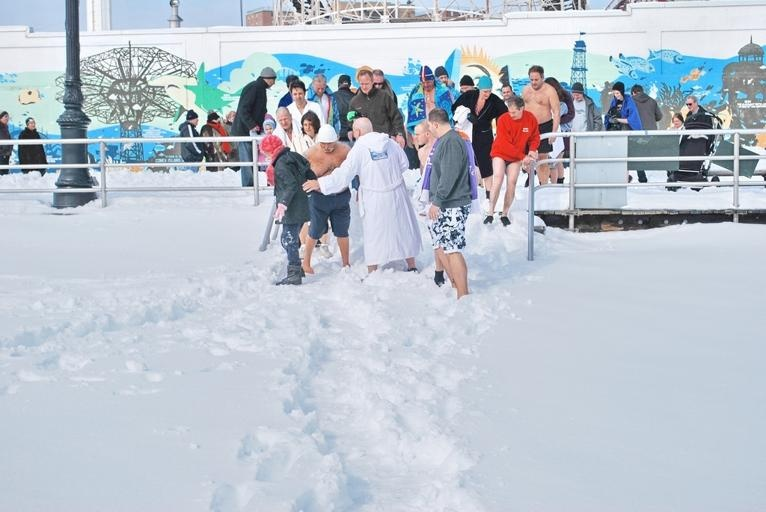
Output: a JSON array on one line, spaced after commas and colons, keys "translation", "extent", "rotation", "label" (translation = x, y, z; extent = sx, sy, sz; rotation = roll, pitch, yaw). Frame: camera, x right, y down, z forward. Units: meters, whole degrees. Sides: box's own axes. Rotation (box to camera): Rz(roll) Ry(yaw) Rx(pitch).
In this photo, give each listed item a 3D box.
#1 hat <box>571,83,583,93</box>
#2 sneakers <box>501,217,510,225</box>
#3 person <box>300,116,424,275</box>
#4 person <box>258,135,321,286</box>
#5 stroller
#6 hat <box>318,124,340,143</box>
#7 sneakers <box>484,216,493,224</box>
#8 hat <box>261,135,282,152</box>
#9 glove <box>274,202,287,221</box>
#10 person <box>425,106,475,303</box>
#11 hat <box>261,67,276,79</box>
[{"translation": [3.633, -3.134, 17.590], "extent": [0.206, 0.123, 0.207], "rotation": [-2, 10, -11], "label": "hat"}, {"translation": [1.908, -0.545, 14.499], "extent": [0.165, 0.134, 0.115], "rotation": [-1, 8, -10], "label": "sneakers"}, {"translation": [-0.341, -0.789, 13.045], "extent": [1.532, 2.215, 1.056], "rotation": [-18, 36, -16], "label": "person"}, {"translation": [-1.241, -0.612, 12.367], "extent": [0.731, 1.930, 0.627], "rotation": [-4, 8, -31], "label": "person"}, {"translation": [5.472, -1.859, 16.642], "extent": [0.955, 1.531, 1.191], "rotation": [5, 9, 38], "label": "stroller"}, {"translation": [-0.760, -1.641, 12.691], "extent": [0.245, 0.234, 0.280], "rotation": [0, 8, -6], "label": "hat"}, {"translation": [1.624, -0.552, 14.480], "extent": [0.096, 0.082, 0.155], "rotation": [3, 4, -8], "label": "sneakers"}, {"translation": [-1.455, -1.454, 12.217], "extent": [0.292, 0.224, 0.219], "rotation": [-1, 8, -8], "label": "hat"}, {"translation": [-1.315, -0.558, 12.032], "extent": [0.144, 0.228, 0.102], "rotation": [13, 4, -13], "label": "glove"}, {"translation": [0.856, -0.657, 11.857], "extent": [0.562, 2.377, 0.363], "rotation": [1, 7, 4], "label": "person"}, {"translation": [-1.942, -3.011, 15.521], "extent": [0.270, 0.181, 0.202], "rotation": [4, 10, 28], "label": "hat"}]
